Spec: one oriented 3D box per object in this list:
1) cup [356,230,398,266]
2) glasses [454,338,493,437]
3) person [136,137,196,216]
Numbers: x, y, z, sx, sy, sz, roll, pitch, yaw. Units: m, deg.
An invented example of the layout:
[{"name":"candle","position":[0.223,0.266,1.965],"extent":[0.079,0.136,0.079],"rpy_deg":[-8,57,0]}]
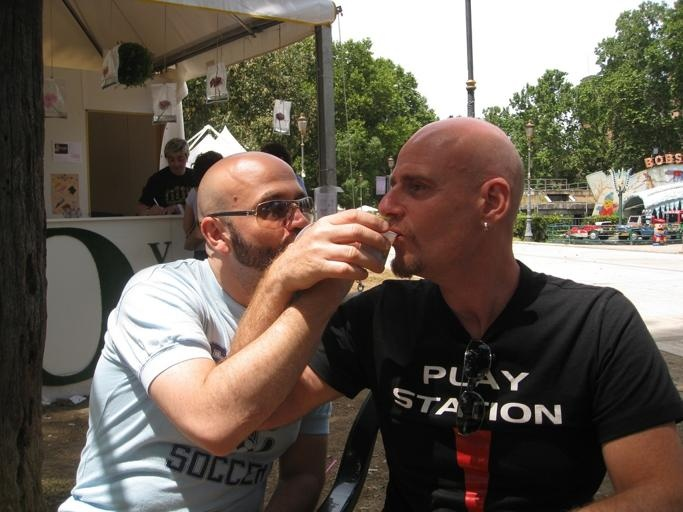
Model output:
[{"name":"cup","position":[0.146,-0.032,2.318],"extent":[0.066,0.126,0.199],"rpy_deg":[3,3,42]},{"name":"glasses","position":[0.511,0.503,2.305],"extent":[0.133,0.341,0.088],"rpy_deg":[1,3,7]},{"name":"person","position":[-2.287,-1.019,8.254],"extent":[0.962,1.170,0.694],"rpy_deg":[-1,24,-17]}]
